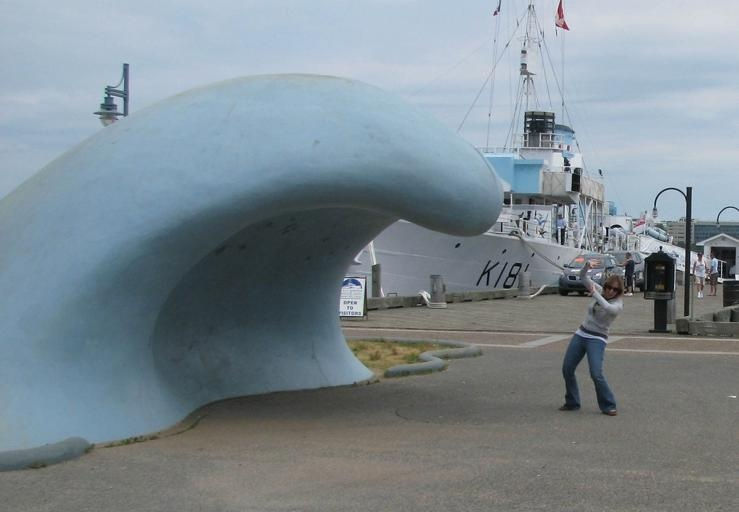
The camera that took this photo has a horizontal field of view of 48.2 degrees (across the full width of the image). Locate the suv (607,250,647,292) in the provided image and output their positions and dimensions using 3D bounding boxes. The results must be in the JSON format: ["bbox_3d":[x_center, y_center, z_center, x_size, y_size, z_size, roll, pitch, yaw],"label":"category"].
[{"bbox_3d":[8.544,0.483,27.368,1.431,1.403,3.404,-2,-5,21],"label":"suv"}]

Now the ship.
[{"bbox_3d":[9.498,-2.166,34.827,6.777,12.361,21.523,-2,-5,27],"label":"ship"}]

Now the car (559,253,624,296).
[{"bbox_3d":[6.324,0.512,23.929,1.403,1.102,2.314,-4,-8,28],"label":"car"}]

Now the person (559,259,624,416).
[{"bbox_3d":[2.602,0.936,9.687,0.675,1.556,0.544,2,1,15],"label":"person"}]

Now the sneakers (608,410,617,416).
[{"bbox_3d":[2.769,1.774,9.424,0.108,0.056,0.116,2,1,21],"label":"sneakers"}]
